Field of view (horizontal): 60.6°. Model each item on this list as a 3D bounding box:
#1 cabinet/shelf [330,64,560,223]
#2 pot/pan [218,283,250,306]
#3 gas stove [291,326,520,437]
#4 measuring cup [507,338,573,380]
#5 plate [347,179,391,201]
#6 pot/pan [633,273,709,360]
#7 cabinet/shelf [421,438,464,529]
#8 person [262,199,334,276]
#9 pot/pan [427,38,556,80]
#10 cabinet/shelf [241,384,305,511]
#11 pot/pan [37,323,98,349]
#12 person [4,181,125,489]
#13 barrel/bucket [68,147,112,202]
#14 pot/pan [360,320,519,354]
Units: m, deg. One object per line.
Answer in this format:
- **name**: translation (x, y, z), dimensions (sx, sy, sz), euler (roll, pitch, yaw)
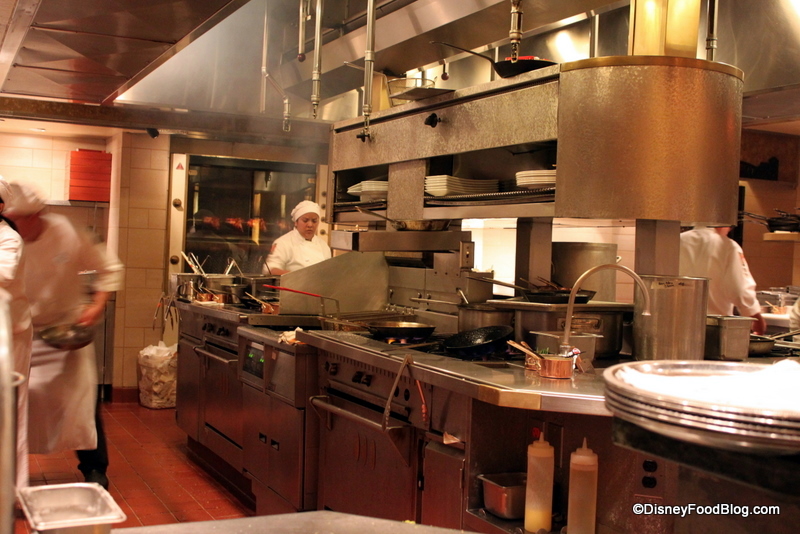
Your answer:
- **cabinet/shelf**: translation (0.337, -0.624, 4.379), dimensions (0.798, 0.792, 2.341), euler (1, 2, -32)
- **pot/pan**: translation (-1.462, 0.240, 5.960), dimensions (0.205, 0.139, 0.199), euler (1, -1, 22)
- **gas stove**: translation (-0.029, 0.606, 3.477), dimensions (0.335, 0.374, 1.561), euler (0, 2, -33)
- **measuring cup**: translation (0.658, 0.416, 3.079), dimensions (0.258, 0.133, 0.172), euler (3, 2, 23)
- **plate**: translation (-0.199, -0.506, 4.569), dimensions (0.191, 0.059, 0.192), euler (-1, 0, -34)
- **pot/pan**: translation (1.177, 0.224, 3.182), dimensions (0.375, 0.372, 0.335), euler (3, -3, -24)
- **cabinet/shelf**: translation (0.181, 0.997, 3.114), dimensions (0.085, 0.401, 0.330), euler (1, 2, -22)
- **person**: translation (-0.967, -0.273, 6.502), dimensions (0.614, 0.691, 0.306), euler (1, 2, -18)
- **pot/pan**: translation (0.509, -1.063, 3.638), dimensions (0.612, 0.084, 0.342), euler (16, 3, 1)
- **cabinet/shelf**: translation (-0.666, 1.212, 4.413), dimensions (0.403, 0.720, 0.603), euler (-1, 5, -31)
- **pot/pan**: translation (-2.119, 0.445, 4.356), dimensions (0.416, 0.196, 0.217), euler (3, 2, 27)
- **person**: translation (-2.172, 0.516, 4.338), dimensions (0.734, 2.069, 0.881), euler (2, 8, -19)
- **barrel/bucket**: translation (-3.412, -0.990, 7.407), dimensions (0.427, 0.525, 0.312), euler (0, 16, -32)
- **pot/pan**: translation (0.213, 0.367, 3.766), dimensions (0.693, 0.153, 0.584), euler (2, 5, 1)
